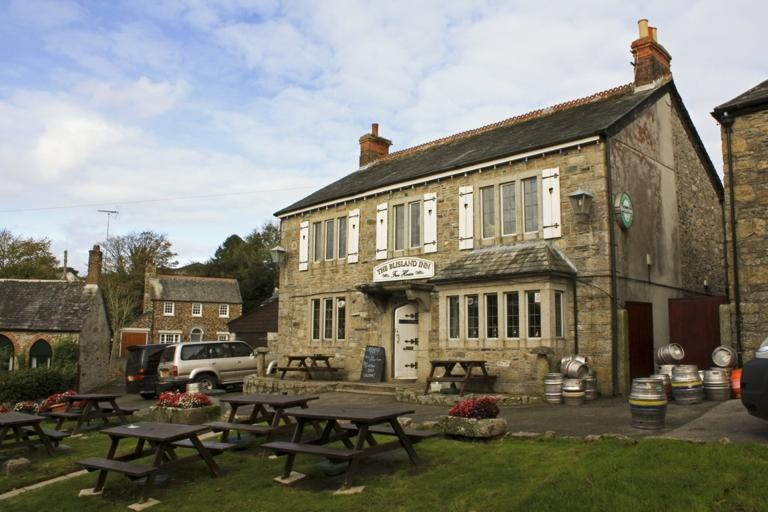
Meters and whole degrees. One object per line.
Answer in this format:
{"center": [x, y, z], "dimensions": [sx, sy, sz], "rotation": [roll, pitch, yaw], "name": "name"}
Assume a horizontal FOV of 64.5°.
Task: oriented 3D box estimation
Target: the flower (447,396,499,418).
{"center": [1.815, 3.199, 12.745], "dimensions": [0.722, 0.285, 0.685], "rotation": [5, -11, -38], "name": "flower"}

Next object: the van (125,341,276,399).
{"center": [-6.898, 4.078, 23.414], "dimensions": [2.755, 1.430, 4.308], "rotation": [-8, -6, 43], "name": "van"}

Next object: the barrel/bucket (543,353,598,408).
{"center": [4.951, 3.365, 16.401], "dimensions": [1.213, 1.116, 1.114], "rotation": [-6, 3, 0], "name": "barrel/bucket"}

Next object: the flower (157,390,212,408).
{"center": [-4.797, 3.416, 14.332], "dimensions": [0.850, 0.197, 0.591], "rotation": [-4, -9, 27], "name": "flower"}

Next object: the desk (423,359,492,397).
{"center": [2.304, 3.484, 17.871], "dimensions": [1.477, 0.698, 1.565], "rotation": [3, -6, -42], "name": "desk"}

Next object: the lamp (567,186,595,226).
{"center": [5.624, -1.522, 17.412], "dimensions": [0.720, 0.731, 0.690], "rotation": [-6, -11, 32], "name": "lamp"}

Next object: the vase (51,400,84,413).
{"center": [-9.264, 4.389, 17.568], "dimensions": [0.733, 0.192, 0.624], "rotation": [1, -14, -7], "name": "vase"}
